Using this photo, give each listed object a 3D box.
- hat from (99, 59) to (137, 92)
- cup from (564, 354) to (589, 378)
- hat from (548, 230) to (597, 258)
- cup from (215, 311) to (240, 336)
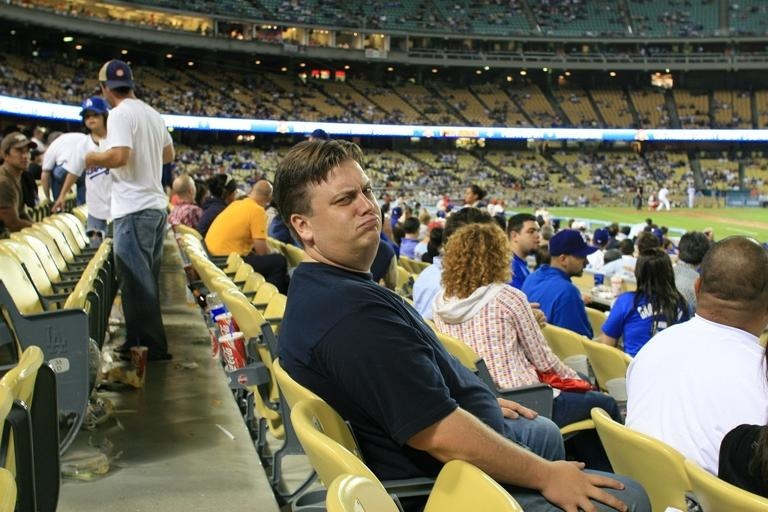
[{"bbox_3d":[-1.904,-1.300,4.672,0.213,0.205,0.333,-2,15,-25],"label":"hat"},{"bbox_3d":[1.206,0.670,4.112,0.142,0.149,0.144,-11,6,1],"label":"cup"},{"bbox_3d":[1.441,-0.092,5.049,0.290,0.181,0.197,-7,8,4],"label":"hat"},{"bbox_3d":[-0.995,0.421,4.181,0.143,0.113,0.150,-1,16,0],"label":"cup"}]
